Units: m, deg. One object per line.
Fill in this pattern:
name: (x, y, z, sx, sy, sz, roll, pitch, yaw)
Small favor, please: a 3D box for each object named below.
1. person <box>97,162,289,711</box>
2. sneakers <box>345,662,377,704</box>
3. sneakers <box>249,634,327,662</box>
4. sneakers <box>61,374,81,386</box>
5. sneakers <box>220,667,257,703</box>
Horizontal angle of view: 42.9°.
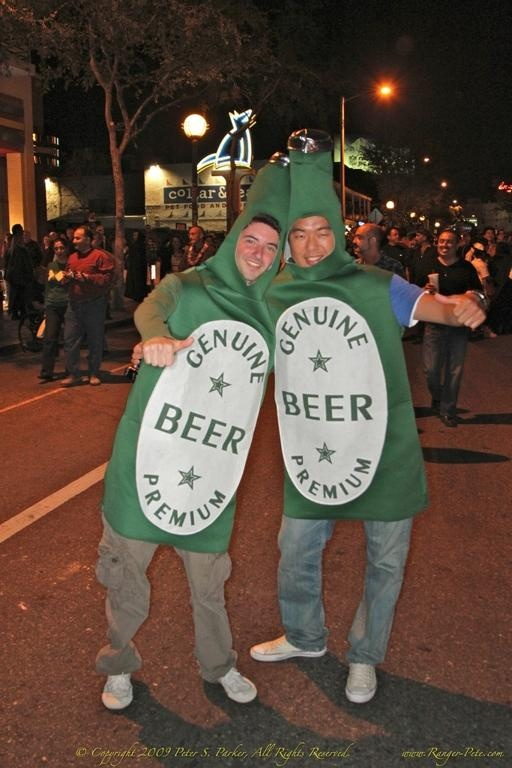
person: (-0.197, 0.181, 2.424, 0.744, 2.045, 0.498, -6, 12, -40)
sneakers: (0.402, 1.142, 2.482, 0.075, 0.060, 0.169, 0, 1, 8)
sneakers: (0.138, 1.138, 2.835, 0.330, 0.101, 0.111, 3, -3, -5)
sneakers: (-2.656, -0.052, 9.398, 0.148, 0.129, 0.368, 2, -2, 11)
sneakers: (-0.065, 1.135, 2.478, 0.087, 0.059, 0.162, -12, 8, -38)
